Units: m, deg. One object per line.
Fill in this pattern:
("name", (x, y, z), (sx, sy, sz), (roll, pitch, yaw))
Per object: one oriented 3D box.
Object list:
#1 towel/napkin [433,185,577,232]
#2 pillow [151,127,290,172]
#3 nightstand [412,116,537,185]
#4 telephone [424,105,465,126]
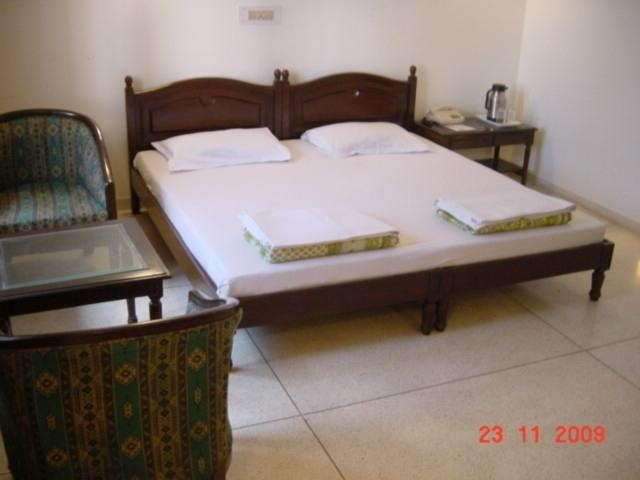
("towel/napkin", (1.049, -0.162, 2.944), (0.478, 0.129, 0.374), (-10, 31, -16))
("pillow", (-0.650, -0.645, 3.705), (0.635, 0.115, 0.484), (-8, 34, -20))
("nightstand", (1.400, -0.775, 4.780), (0.940, 0.615, 0.504), (-10, 30, -19))
("telephone", (1.100, -1.090, 4.585), (0.198, 0.092, 0.267), (-8, 26, -20))
